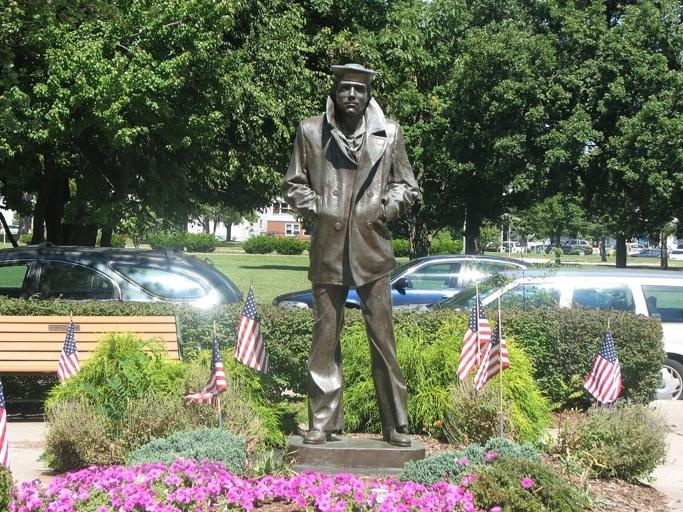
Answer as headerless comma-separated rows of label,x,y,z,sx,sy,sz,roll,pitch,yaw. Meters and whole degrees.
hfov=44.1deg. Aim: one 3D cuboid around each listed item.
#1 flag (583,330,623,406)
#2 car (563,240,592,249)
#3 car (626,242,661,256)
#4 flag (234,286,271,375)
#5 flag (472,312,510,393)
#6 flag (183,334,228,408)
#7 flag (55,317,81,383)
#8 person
flag,3.167,1.345,10.225,0.423,0.916,0.288,0,1,18
car,27.917,-1.460,99.411,1.926,0.918,1.010,4,3,0
car,31.066,-0.742,86.497,1.908,1.177,1.317,-3,6,4
flag,-1.121,0.842,10.511,0.433,1.231,0.055,16,-39,-25
flag,1.774,1.109,9.760,0.377,1.198,0.135,3,37,8
flag,-1.529,1.256,9.631,0.460,0.922,0.226,4,-36,-17
flag,-3.464,1.190,10.703,0.263,0.815,0.592,-1,1,-19
person,0.119,0.127,9.644,1.361,4.012,0.395,0,1,-2
